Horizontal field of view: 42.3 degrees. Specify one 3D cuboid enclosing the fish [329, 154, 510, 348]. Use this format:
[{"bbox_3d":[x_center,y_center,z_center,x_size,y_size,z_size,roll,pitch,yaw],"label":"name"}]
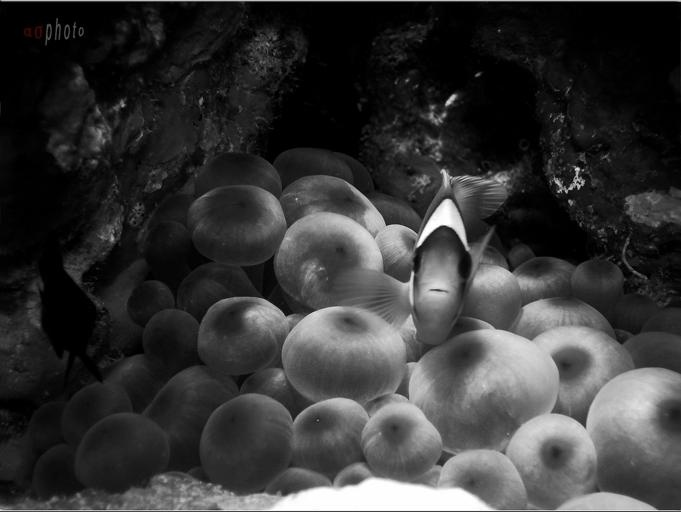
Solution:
[{"bbox_3d":[0.286,-0.051,2.968,0.417,0.410,0.663,3,17,-3],"label":"fish"}]
